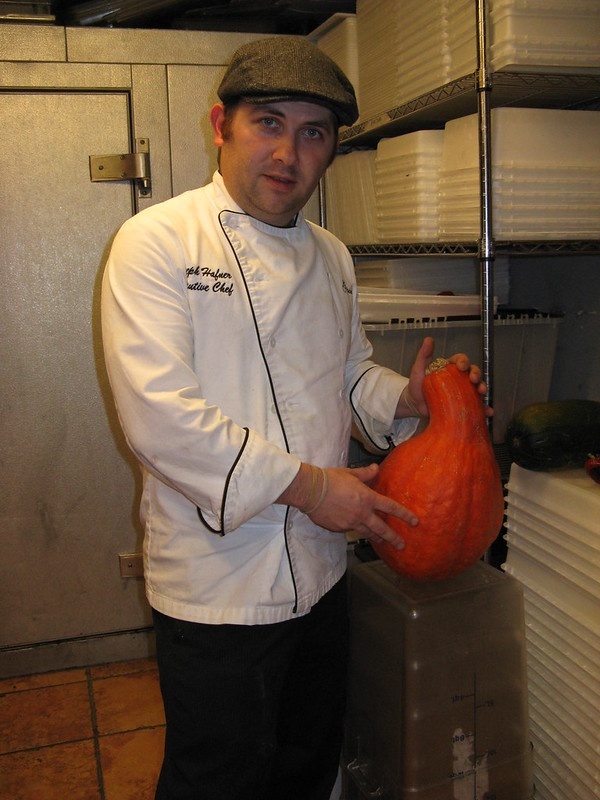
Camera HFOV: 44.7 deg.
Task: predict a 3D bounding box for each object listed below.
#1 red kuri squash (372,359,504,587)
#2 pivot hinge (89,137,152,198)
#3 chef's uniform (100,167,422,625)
[{"bbox_3d":[0.247,0.111,1.256,0.232,0.335,0.217,-3,7,-19],"label":"red kuri squash"},{"bbox_3d":[-0.577,-0.750,2.369,0.187,0.158,0.049,-4,5,-6],"label":"pivot hinge"},{"bbox_3d":[-0.071,-0.011,1.300,0.400,0.778,0.596,6,12,27],"label":"chef's uniform"}]
